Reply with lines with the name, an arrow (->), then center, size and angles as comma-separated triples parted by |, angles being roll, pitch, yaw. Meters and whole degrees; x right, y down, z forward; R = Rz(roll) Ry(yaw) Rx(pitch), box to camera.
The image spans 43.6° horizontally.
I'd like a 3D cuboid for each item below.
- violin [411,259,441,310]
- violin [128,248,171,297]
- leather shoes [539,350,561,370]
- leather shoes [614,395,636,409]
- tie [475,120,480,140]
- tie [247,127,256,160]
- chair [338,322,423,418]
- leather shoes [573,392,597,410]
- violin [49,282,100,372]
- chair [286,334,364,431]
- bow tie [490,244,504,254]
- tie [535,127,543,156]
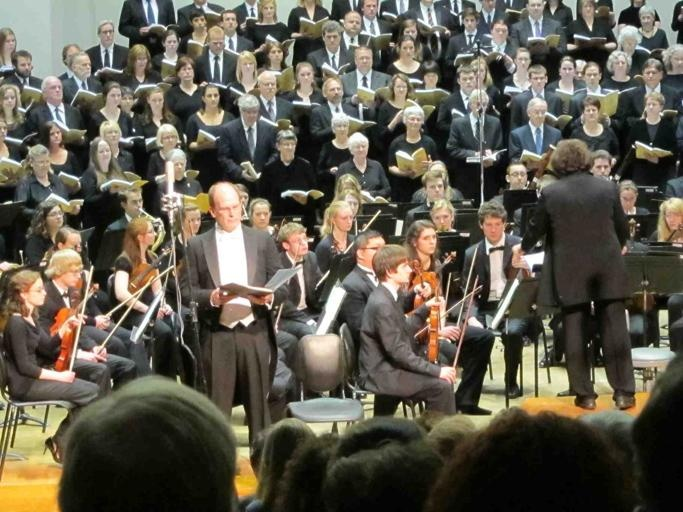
violin -> 0.618, 0.198, 6.253 | 0.201, 0.344, 0.115 | -6, -2, -4
violin -> -1.543, 0.140, 6.799 | 0.207, 0.420, 0.131 | 43, -10, -16
leather shoes -> 1.855, 0.949, 7.771 | 0.155, 0.180, 0.469 | -5, -10, 30
leather shoes -> 1.698, 0.876, 5.121 | 0.070, 0.086, 0.192 | 1, 5, 28
tie -> 1.546, -1.444, 9.765 | 0.047, 0.172, 0.125 | -1, 3, -2
tie -> -1.004, -1.258, 9.454 | 0.097, 0.357, 0.042 | -1, 3, -7
chair -> 0.237, 0.752, 5.822 | 0.567, 0.885, 0.552 | -1, -1, 16
leather shoes -> 1.495, 0.905, 5.250 | 0.059, 0.068, 0.170 | 0, -3, -11
violin -> -1.859, 0.519, 5.758 | 0.211, 0.634, 0.263 | 19, -2, -9
chair -> -0.087, 0.904, 5.274 | 0.467, 0.723, 0.532 | 0, 11, -4
bow tie -> 1.294, -0.063, 7.149 | 0.141, 0.061, 0.045 | -2, 3, -18
tie -> 2.232, -1.319, 9.677 | 0.097, 0.298, 0.123 | 0, 3, 11
